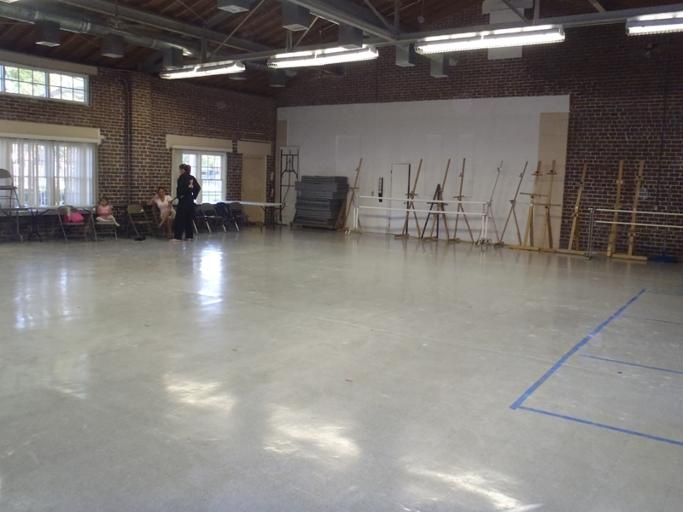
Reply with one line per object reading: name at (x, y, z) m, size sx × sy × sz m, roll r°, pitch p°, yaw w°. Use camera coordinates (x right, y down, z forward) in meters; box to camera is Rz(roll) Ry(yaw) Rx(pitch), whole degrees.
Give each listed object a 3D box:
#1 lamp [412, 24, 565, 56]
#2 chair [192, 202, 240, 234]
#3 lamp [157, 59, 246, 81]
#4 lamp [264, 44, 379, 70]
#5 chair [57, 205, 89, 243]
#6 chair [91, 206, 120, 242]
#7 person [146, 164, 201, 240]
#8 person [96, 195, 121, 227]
lamp at (2.374, -3.602, 8.800) m, size 2.275 × 0.271 × 0.508 m, roll 7°, pitch 12°, yaw 27°
chair at (-3.300, -1.020, 14.261) m, size 0.746 × 1.362 × 0.974 m, roll -1°, pitch 0°, yaw -29°
lamp at (-3.053, -4.067, 11.640) m, size 1.176 × 0.138 × 0.290 m, roll 1°, pitch 37°, yaw 30°
lamp at (-0.439, -4.053, 10.853) m, size 1.847 × 0.227 × 0.510 m, roll 1°, pitch 3°, yaw 19°
chair at (-5.900, -0.740, 11.917) m, size 0.665 × 0.992 × 0.640 m, roll -2°, pitch 3°, yaw -44°
chair at (-5.266, -0.809, 12.033) m, size 0.408 × 0.815 × 0.507 m, roll -2°, pitch 1°, yaw -31°
person at (-3.729, -1.250, 12.284) m, size 0.817 × 1.730 × 1.580 m, roll -3°, pitch 12°, yaw -25°
person at (-5.322, -1.004, 12.248) m, size 0.428 × 0.673 × 1.030 m, roll -3°, pitch 12°, yaw -24°
